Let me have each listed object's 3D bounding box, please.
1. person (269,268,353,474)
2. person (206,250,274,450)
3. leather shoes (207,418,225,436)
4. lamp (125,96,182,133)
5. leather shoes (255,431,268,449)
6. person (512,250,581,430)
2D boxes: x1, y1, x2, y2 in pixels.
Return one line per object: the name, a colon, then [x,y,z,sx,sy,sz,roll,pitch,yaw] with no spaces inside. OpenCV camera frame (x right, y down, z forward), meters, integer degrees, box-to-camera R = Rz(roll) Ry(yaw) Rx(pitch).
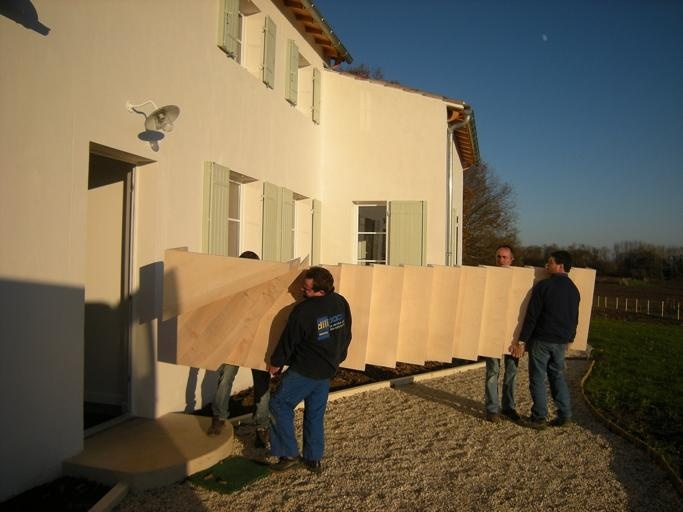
person: [-0.312,1.180,5.437,0.841,2.136,0.366,1,3,-10]
person: [-1.147,1.064,6.030,0.668,2.208,0.580,1,3,-8]
leather shoes: [-1.396,1.892,5.921,0.213,0.177,0.148,1,4,-25]
lamp: [-2.067,-1.579,5.877,0.480,0.386,0.557,5,5,37]
leather shoes: [-0.897,2.086,6.033,0.142,0.248,0.160,0,-4,7]
person: [2.552,1.043,6.565,0.868,2.204,0.341,1,4,-19]
